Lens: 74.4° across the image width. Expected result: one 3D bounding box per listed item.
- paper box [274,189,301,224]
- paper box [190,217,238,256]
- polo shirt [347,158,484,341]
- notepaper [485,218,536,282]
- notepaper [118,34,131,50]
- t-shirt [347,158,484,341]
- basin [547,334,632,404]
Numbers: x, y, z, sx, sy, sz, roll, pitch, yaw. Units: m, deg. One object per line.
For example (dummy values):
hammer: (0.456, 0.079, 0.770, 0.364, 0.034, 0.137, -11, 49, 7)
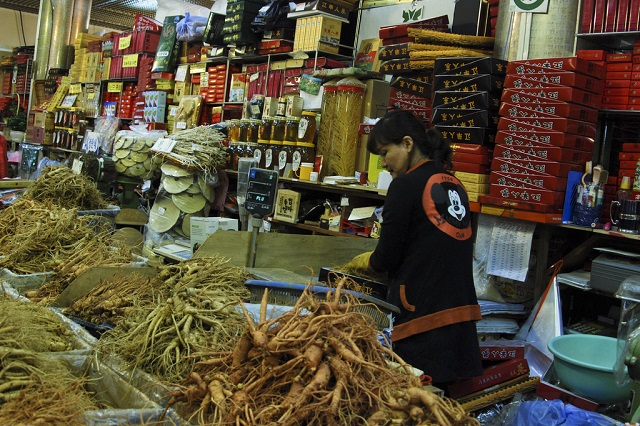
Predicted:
paper box: (-0.322, -0.071, 4.156, 0.284, 0.349, 0.097, 18, 11, 29)
paper box: (-0.913, 0.221, 3.677, 0.259, 0.322, 0.362, 3, 4, 43)
polo shirt: (0.614, 0.145, 2.593, 0.910, 1.128, 0.850, -3, 4, -42)
notepaper: (1.432, 0.280, 3.219, 0.329, 0.413, 0.115, 10, -7, -2)
notepaper: (-3.454, -3.044, 7.440, 0.369, 0.242, 0.040, 13, -9, 45)
t-shirt: (0.558, 0.274, 2.413, 0.716, 0.945, 0.763, -9, -5, 42)
basin: (1.451, 0.852, 2.302, 0.395, 0.270, 0.422, 5, 5, 0)
